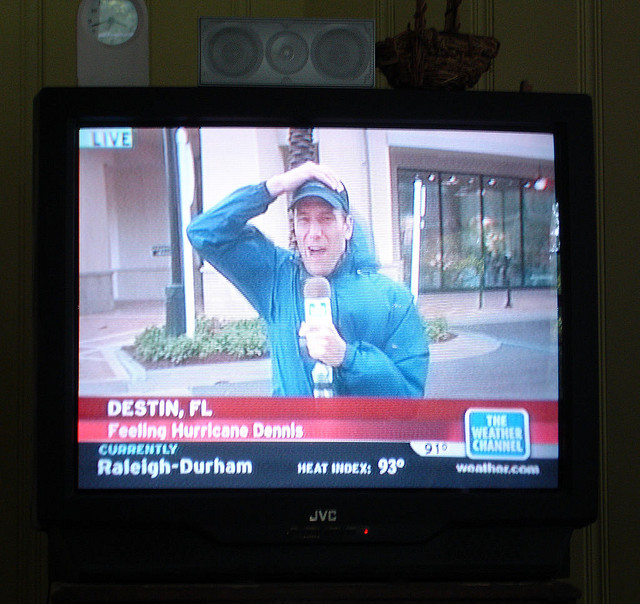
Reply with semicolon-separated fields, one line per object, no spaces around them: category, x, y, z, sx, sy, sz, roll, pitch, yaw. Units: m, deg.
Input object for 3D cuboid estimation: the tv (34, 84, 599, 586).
tv;-0.058;0.117;2.321;1.128;1.056;0.422;0;-2;-3
